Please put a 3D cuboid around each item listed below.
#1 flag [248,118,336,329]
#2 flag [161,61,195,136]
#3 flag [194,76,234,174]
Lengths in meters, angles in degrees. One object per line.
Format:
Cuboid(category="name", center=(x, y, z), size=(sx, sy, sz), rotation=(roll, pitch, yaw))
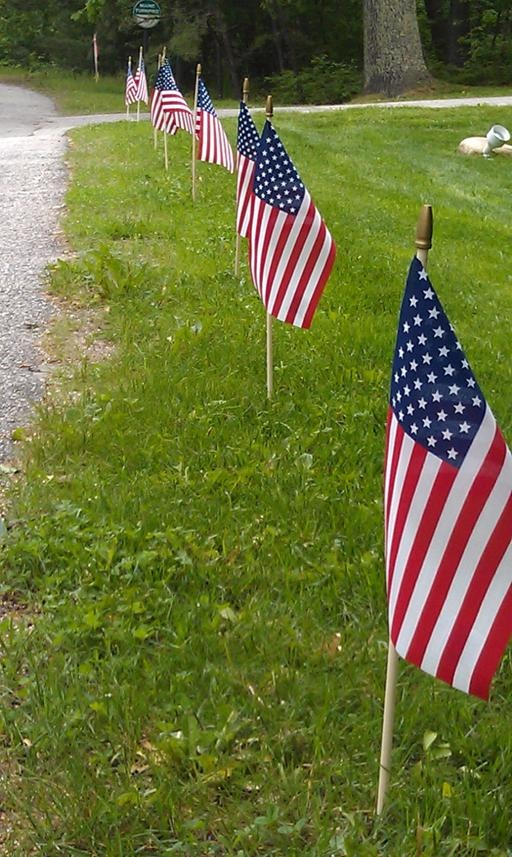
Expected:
Cuboid(category="flag", center=(0.208, -1.210, 4.342), size=(0.196, 1.126, 0.627), rotation=(-14, 23, -41))
Cuboid(category="flag", center=(-1.286, -5.351, 11.805), size=(0.516, 1.107, 1.132), rotation=(-1, 18, -8))
Cuboid(category="flag", center=(-0.535, -3.794, 8.935), size=(0.470, 1.311, 0.101), rotation=(0, -10, -4))
